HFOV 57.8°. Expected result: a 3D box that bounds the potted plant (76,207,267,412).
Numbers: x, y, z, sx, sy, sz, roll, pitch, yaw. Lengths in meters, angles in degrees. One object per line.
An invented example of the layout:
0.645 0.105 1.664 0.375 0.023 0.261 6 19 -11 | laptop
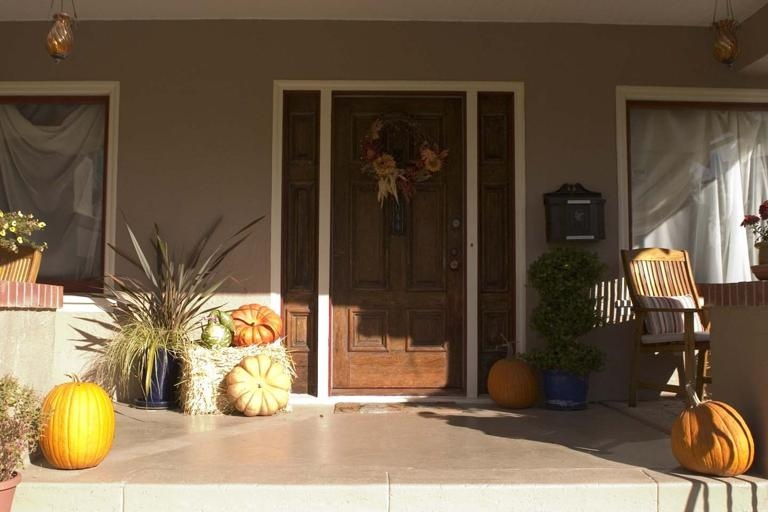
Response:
-1.929 0.609 6.822 1.727 1.810 1.350 0 -7 27 | potted plant

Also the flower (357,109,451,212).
0.169 -0.885 6.747 0.811 0.965 0.299 4 -1 4 | flower

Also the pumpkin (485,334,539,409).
1.199 1.055 6.393 0.512 0.822 0.526 0 -3 14 | pumpkin

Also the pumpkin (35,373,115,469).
-1.971 1.121 4.754 0.496 0.679 0.517 2 -9 -15 | pumpkin

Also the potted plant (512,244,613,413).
1.594 0.626 6.175 0.646 1.385 0.378 3 12 15 | potted plant

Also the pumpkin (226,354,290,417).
-1.056 1.113 5.917 0.491 0.508 0.222 28 -29 -8 | pumpkin

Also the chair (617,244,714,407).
2.484 0.668 6.228 0.758 1.380 1.085 4 12 19 | chair

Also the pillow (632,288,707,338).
2.537 0.494 6.222 0.400 0.427 0.103 -4 1 -11 | pillow

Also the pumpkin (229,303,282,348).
-1.158 0.636 6.333 0.455 0.339 0.374 -3 12 -13 | pumpkin
